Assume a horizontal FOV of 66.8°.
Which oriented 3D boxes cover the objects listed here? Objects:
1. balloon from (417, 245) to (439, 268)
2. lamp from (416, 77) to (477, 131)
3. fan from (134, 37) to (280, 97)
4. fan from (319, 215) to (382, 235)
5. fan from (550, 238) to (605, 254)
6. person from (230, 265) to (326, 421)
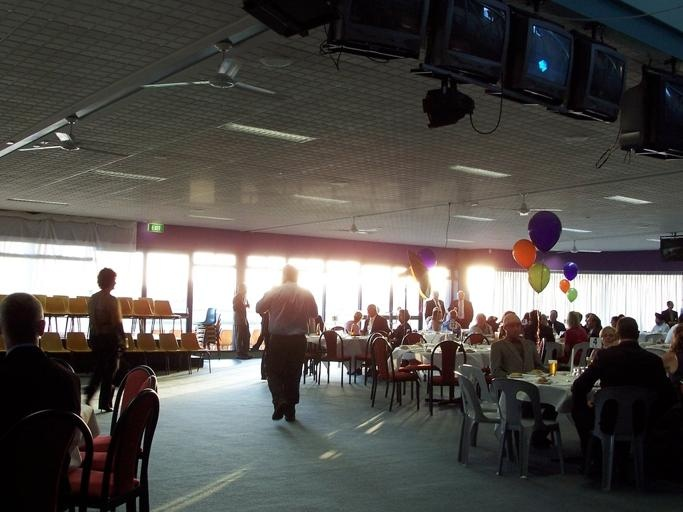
[{"bbox_3d":[2.311,0.051,13.873,0.413,0.618,1.734,1,-4,8],"label":"balloon"},{"bbox_3d":[0.876,-1.291,4.336,0.409,0.358,0.291,-1,25,9],"label":"lamp"},{"bbox_3d":[-1.256,-1.733,4.915,0.611,0.220,0.622,-1,0,8],"label":"fan"},{"bbox_3d":[0.428,-0.780,15.812,1.446,0.163,3.698,1,-5,2],"label":"fan"},{"bbox_3d":[9.174,-0.216,20.256,1.169,0.391,1.149,5,-10,-41],"label":"fan"},{"bbox_3d":[-0.794,1.284,7.735,0.761,2.321,0.749,4,-4,-41],"label":"person"}]
